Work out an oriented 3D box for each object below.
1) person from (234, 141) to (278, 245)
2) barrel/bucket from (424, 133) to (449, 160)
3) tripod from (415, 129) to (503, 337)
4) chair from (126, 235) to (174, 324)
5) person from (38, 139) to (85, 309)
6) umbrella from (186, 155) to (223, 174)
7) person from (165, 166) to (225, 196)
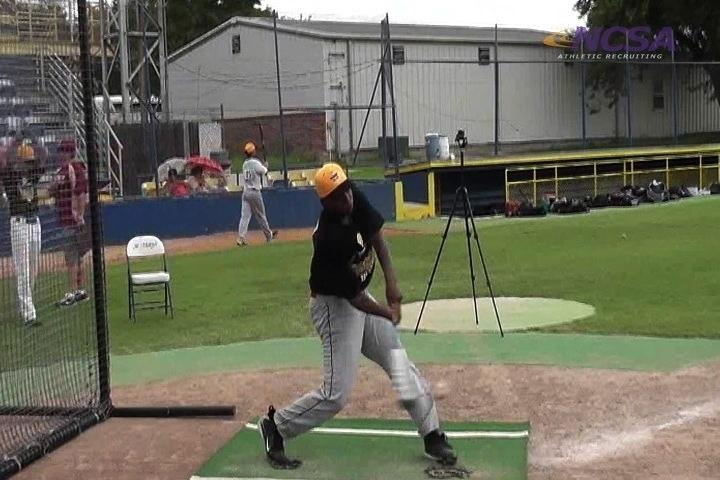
[{"bbox_3d":[-2.686,-1.288,29.431,1.084,2.942,0.801,0,0,37],"label":"person"},{"bbox_3d":[2.857,-3.483,41.158,0.881,1.128,0.937,-1,6,0],"label":"barrel/bucket"},{"bbox_3d":[2.379,-0.038,24.694,1.878,5.727,1.845,2,-2,-44],"label":"tripod"},{"bbox_3d":[-4.597,0.841,24.389,1.181,2.426,1.265,-2,2,-25],"label":"chair"},{"bbox_3d":[-5.888,-0.357,22.538,0.861,3.407,0.943,3,-3,19],"label":"person"},{"bbox_3d":[-4.907,-2.384,34.824,0.676,0.257,0.707,20,7,-28],"label":"umbrella"},{"bbox_3d":[-5.255,-1.850,34.501,0.743,0.726,1.799,-5,18,-7],"label":"person"}]
